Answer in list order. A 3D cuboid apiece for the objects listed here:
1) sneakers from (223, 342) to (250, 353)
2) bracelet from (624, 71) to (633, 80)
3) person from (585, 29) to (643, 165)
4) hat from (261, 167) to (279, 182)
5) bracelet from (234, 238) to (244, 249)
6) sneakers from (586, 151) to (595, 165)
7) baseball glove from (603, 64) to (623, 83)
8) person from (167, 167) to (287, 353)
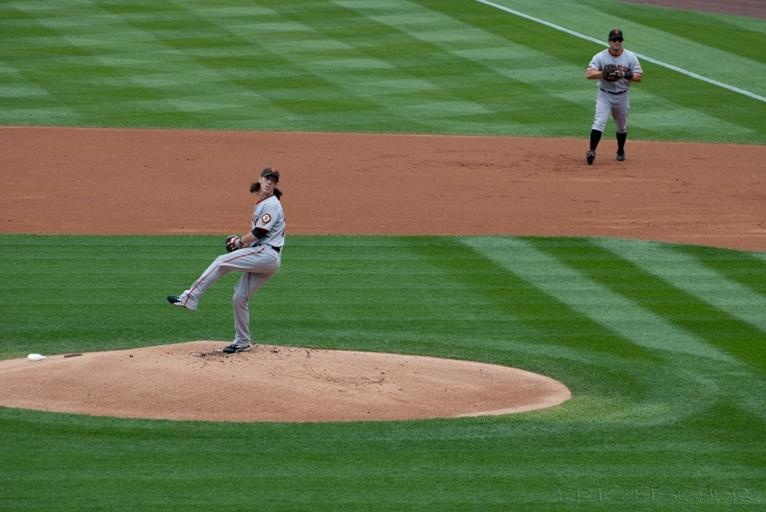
[{"bbox_3d":[-2.466,1.567,28.951,0.490,0.154,0.150,2,0,-7],"label":"sneakers"},{"bbox_3d":[4.891,-3.655,35.440,0.212,0.184,0.126,-8,22,-31],"label":"bracelet"},{"bbox_3d":[4.555,-3.213,35.882,1.233,2.900,0.841,-2,21,-14],"label":"person"},{"bbox_3d":[-1.901,-1.357,29.167,0.310,0.179,0.394,24,-8,-14],"label":"hat"},{"bbox_3d":[-2.407,-0.182,28.739,0.160,0.123,0.160,-3,8,-3],"label":"bracelet"},{"bbox_3d":[4.231,-2.017,36.266,0.215,0.246,0.152,0,13,3],"label":"sneakers"},{"bbox_3d":[4.564,-3.687,35.355,0.428,0.368,0.208,0,19,-7],"label":"baseball glove"},{"bbox_3d":[-2.363,0.102,28.966,1.000,2.956,1.703,18,24,36],"label":"person"}]
